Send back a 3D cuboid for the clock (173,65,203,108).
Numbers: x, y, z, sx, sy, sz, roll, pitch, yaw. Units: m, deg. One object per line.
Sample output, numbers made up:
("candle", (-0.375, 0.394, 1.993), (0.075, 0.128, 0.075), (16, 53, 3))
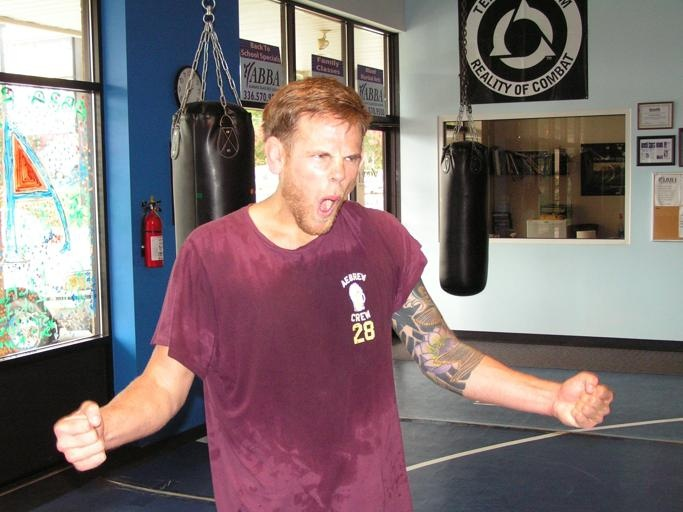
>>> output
("clock", (-1.202, -1.355, 4.419), (0.028, 0.325, 0.327), (18, 32, 13))
